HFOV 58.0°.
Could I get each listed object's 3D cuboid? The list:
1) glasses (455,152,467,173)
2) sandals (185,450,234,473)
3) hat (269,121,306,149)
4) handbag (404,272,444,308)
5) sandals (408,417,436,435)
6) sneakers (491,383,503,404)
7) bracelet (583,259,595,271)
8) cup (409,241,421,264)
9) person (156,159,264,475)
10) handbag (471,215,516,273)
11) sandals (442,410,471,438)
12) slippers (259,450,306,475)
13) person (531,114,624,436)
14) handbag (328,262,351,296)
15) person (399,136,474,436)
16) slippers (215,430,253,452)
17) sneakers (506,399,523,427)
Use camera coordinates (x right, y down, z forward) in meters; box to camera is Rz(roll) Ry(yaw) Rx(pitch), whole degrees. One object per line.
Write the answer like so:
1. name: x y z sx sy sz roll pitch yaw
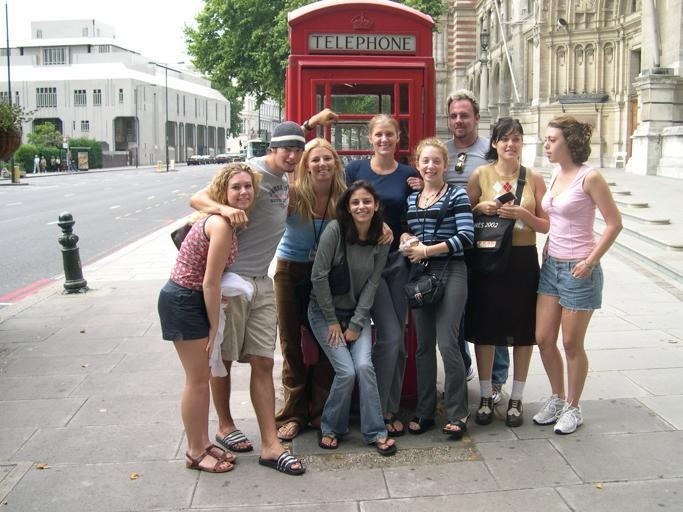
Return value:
1. glasses: 1.140 -0.870 5.870 0.085 0.224 0.076 5 7 -44
2. sandals: -1.001 1.550 4.701 0.248 0.102 0.188 1 8 4
3. hat: -0.458 -0.988 5.067 0.264 0.178 0.198 8 7 32
4. handbag: 0.682 0.289 5.132 0.308 0.311 0.172 -20 -20 41
5. sandals: 0.686 1.448 5.283 0.228 0.101 0.109 1 0 -22
6. sneakers: 1.475 1.293 5.827 0.095 0.139 0.295 -2 -3 14
7. bracelet: 2.026 0.083 5.052 0.068 0.032 0.083 31 -9 42
8. cup: 0.614 -0.030 5.106 0.066 0.195 0.106 0 12 6
9. person: -1.055 0.455 4.779 0.570 2.262 0.695 3 13 19
10. handbag: 1.295 -0.107 5.216 0.417 0.540 0.273 7 4 40
11. sandals: 0.964 1.404 5.145 0.152 0.160 0.427 -3 -11 19
12. slippers: -0.454 1.552 4.720 0.348 0.120 0.139 2 5 29
13. person: 1.931 0.138 5.251 0.687 2.589 0.645 -8 14 -30
14. handbag: -0.022 0.180 5.070 0.212 0.300 0.116 -9 3 6
15. person: 0.801 0.259 5.214 0.596 2.434 0.732 1 12 11
16. slippers: -0.889 1.503 5.043 0.129 0.097 0.281 -2 0 -40
17. sneakers: 1.480 1.367 5.270 0.093 0.118 0.291 -1 -3 15
